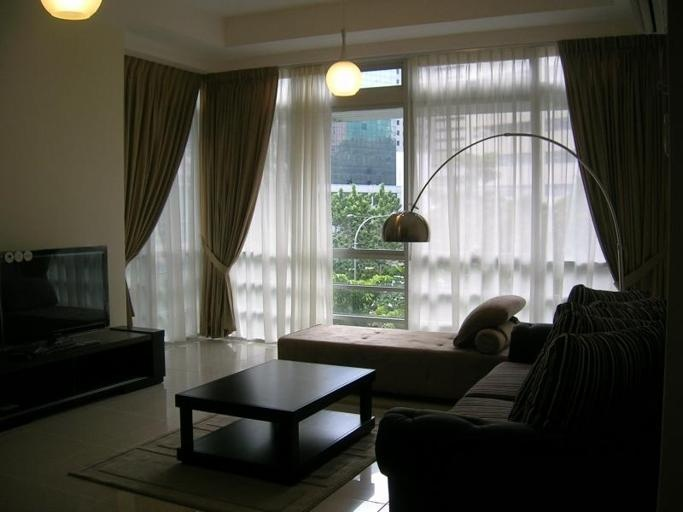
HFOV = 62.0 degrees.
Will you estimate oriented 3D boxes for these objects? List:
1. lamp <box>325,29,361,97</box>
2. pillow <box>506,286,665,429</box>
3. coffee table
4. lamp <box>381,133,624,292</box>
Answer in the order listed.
[{"bbox_3d":[0.024,-1.699,4.933,0.290,0.649,0.300,0,0,17],"label":"lamp"},{"bbox_3d":[0.963,0.475,2.460,0.653,0.723,0.198,-12,20,-39],"label":"pillow"},{"bbox_3d":[-0.474,1.048,3.575,0.605,0.369,0.880,2,3,25],"label":"coffee table"},{"bbox_3d":[1.505,-0.512,5.040,2.175,1.369,2.050,0,5,8],"label":"lamp"}]
